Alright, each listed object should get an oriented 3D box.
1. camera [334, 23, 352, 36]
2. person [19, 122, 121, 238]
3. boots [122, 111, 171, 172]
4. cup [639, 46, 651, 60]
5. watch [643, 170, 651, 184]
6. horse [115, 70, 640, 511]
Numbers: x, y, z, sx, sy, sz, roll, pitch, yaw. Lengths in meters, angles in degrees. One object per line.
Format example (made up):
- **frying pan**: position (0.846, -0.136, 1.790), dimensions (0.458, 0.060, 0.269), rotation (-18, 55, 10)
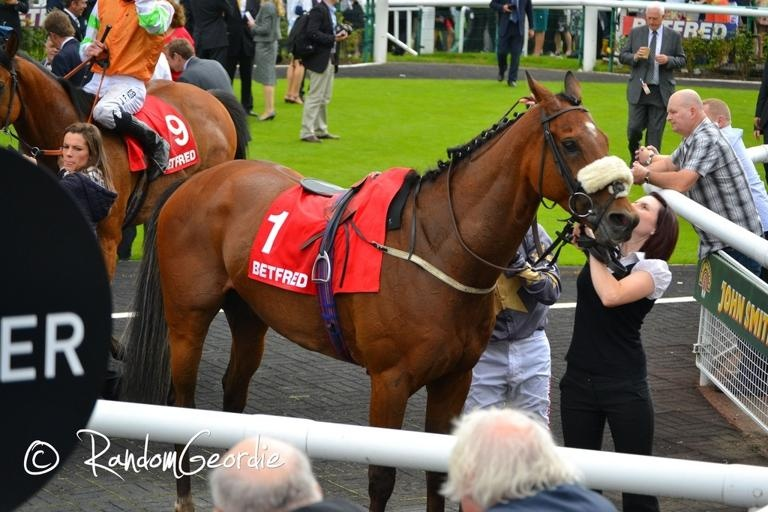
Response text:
- **camera**: position (-0.716, -3.491, 14.825), dimensions (0.438, 0.154, 0.198), rotation (7, -3, 31)
- **person**: position (-2.139, -0.558, 7.028), dimensions (0.373, 0.783, 0.567), rotation (0, 14, -16)
- **boots**: position (-2.035, -0.993, 8.280), dimensions (0.170, 0.273, 0.713), rotation (19, -8, 28)
- **cup**: position (3.762, -2.964, 14.069), dimensions (0.166, 0.179, 0.140), rotation (6, -13, -18)
- **watch**: position (1.898, -0.569, 7.049), dimensions (0.046, 0.070, 0.067), rotation (1, 9, 6)
- **horse**: position (-0.125, 0.072, 5.640), dimensions (2.974, 2.342, 0.894), rotation (12, 16, 32)
